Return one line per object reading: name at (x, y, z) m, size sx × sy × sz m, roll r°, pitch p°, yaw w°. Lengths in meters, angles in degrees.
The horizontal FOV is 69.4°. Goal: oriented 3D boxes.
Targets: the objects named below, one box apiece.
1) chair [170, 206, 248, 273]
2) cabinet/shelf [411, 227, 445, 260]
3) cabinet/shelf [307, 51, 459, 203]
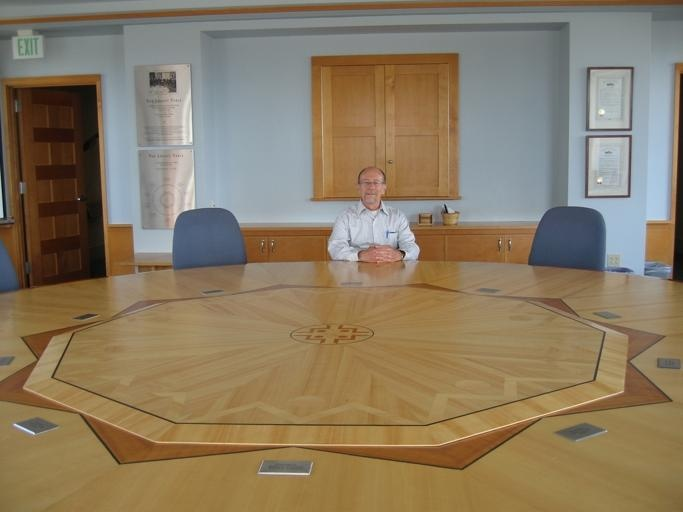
chair at (-0.941, -0.128, 3.473) m, size 0.522 × 0.583 × 0.491 m, roll -3°, pitch 8°, yaw -17°
cabinet/shelf at (0.853, -0.138, 4.846) m, size 0.430 × 0.317 × 0.202 m, roll 0°, pitch 4°, yaw 0°
cabinet/shelf at (0.509, -1.453, 5.308) m, size 2.358 × 1.668 × 0.797 m, roll 0°, pitch 4°, yaw 0°
